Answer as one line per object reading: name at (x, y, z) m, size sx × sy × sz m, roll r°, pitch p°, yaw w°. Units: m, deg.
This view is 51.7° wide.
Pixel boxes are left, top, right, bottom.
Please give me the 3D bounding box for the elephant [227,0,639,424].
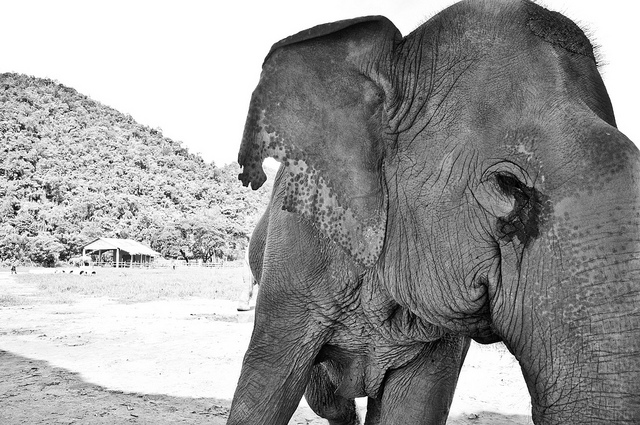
elephant at (0.441, 0.103, 3.483) m, size 1.223 × 1.627 × 2.489 m, roll 7°, pitch -17°, yaw -27°
